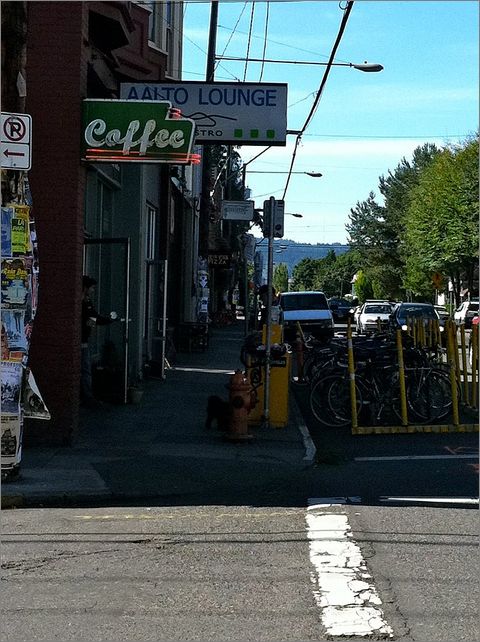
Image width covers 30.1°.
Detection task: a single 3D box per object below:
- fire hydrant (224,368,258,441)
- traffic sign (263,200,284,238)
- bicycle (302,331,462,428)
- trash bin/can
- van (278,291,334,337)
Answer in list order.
[{"bbox_3d":[-0.008,0.965,10.072,0.396,0.673,0.388,1,1,-6],"label":"fire hydrant"},{"bbox_3d":[0.415,-1.299,11.371,0.259,0.505,0.479,0,2,0],"label":"traffic sign"},{"bbox_3d":[1.850,0.838,11.796,1.857,1.110,1.346,0,2,12],"label":"bicycle"},{"bbox_3d":[0.314,0.883,11.299,0.575,0.883,0.603,2,5,0],"label":"trash bin/can"},{"bbox_3d":[1.837,-0.144,26.626,1.632,1.471,3.093,-2,3,0],"label":"van"}]
